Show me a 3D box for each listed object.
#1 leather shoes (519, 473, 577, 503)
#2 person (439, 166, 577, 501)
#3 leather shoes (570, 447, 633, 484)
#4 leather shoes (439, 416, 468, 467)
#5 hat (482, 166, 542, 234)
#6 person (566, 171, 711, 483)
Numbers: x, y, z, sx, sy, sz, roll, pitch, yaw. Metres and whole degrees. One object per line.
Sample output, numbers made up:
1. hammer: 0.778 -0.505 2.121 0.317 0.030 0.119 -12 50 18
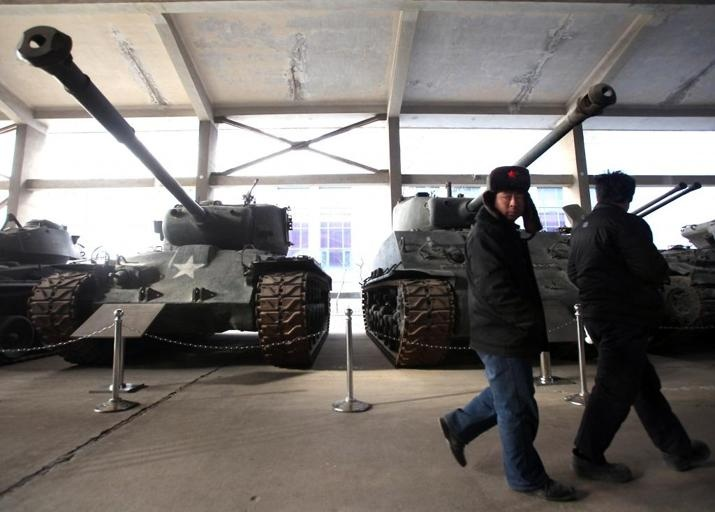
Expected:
1. leather shoes: 1.873 2.239 5.271 0.548 0.231 0.227 -4 -5 2
2. person: 1.482 0.691 5.352 1.162 3.099 0.822 4 12 22
3. leather shoes: 2.479 2.139 5.497 0.457 0.218 0.253 -4 -5 9
4. leather shoes: 0.950 1.856 5.574 0.241 0.614 0.208 -16 10 9
5. hat: 1.557 -0.592 5.465 0.500 0.605 0.370 -4 -7 17
6. person: 2.796 0.676 5.528 1.197 2.998 1.042 3 12 14
